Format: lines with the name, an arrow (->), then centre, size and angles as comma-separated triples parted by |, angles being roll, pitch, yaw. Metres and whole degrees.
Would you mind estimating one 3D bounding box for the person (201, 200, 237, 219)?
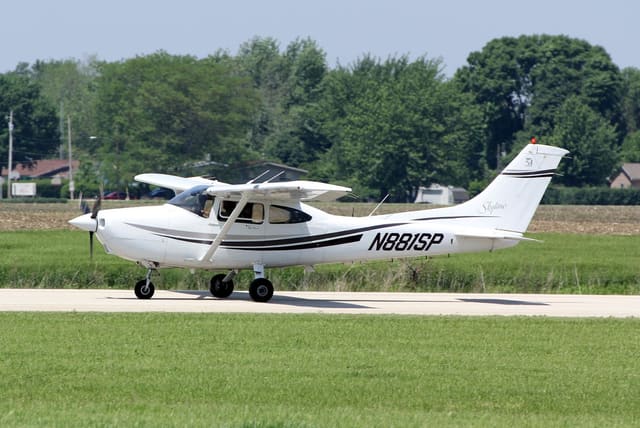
person -> -5.263, -0.288, 63.997 | 1.733, 0.807, 0.271 | 4, 2, -11
